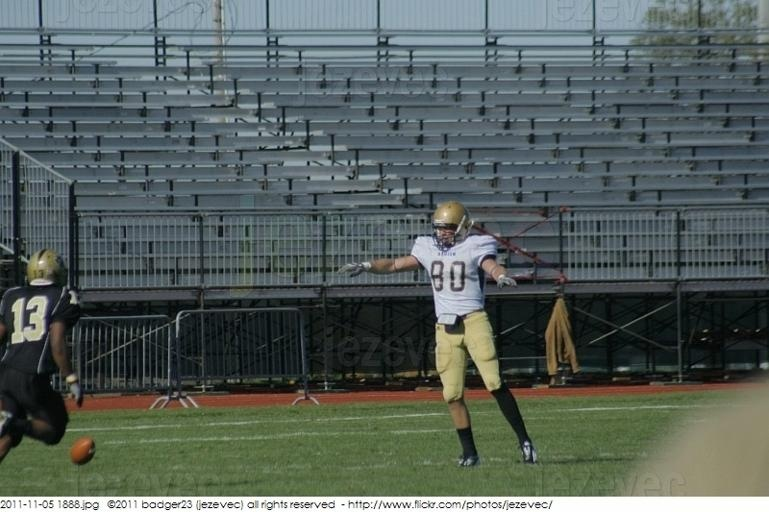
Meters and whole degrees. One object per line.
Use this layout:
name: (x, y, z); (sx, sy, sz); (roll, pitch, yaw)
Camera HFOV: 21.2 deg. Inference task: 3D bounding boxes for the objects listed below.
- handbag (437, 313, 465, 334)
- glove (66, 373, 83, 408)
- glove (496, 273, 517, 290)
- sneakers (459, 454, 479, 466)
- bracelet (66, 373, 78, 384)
handbag: (1.329, 1.274, 40.150); (0.602, 0.329, 0.367); (3, -2, 12)
glove: (-6.012, 2.553, 39.925); (0.279, 0.638, 0.544); (-12, -12, -3)
glove: (2.426, 0.415, 40.167); (0.394, 0.285, 0.478); (-1, 2, 3)
sneakers: (1.674, 3.957, 40.045); (0.319, 0.234, 0.217); (8, 5, 13)
bracelet: (-6.059, 2.335, 39.927); (0.252, 0.140, 0.219); (0, -3, -7)
